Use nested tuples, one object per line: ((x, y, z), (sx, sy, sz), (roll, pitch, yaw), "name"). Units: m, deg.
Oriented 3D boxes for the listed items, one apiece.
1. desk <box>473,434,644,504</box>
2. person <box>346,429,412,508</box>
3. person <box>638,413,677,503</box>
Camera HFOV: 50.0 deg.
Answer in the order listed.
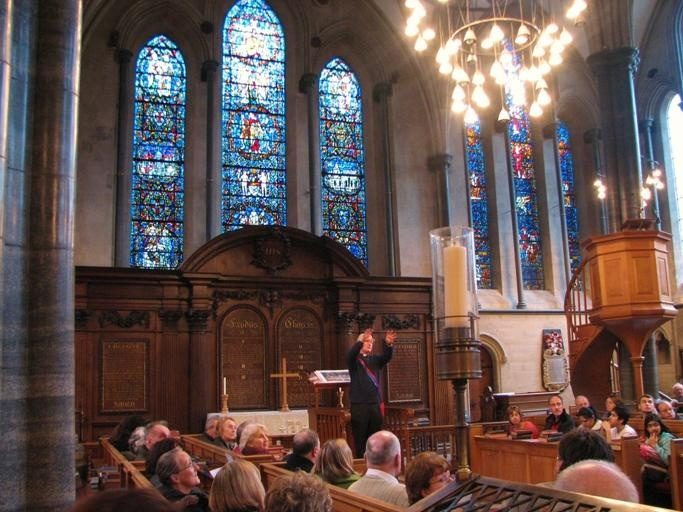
((2.420, 2.541, 9.175), (2.353, 0.944, 0.650), (-3, -14, 33), "desk")
((0.356, 1.769, 6.081), (0.688, 0.590, 0.447), (2, -7, 21), "person")
((3.343, 2.159, 7.688), (0.352, 0.835, 1.077), (-7, -12, 23), "person")
